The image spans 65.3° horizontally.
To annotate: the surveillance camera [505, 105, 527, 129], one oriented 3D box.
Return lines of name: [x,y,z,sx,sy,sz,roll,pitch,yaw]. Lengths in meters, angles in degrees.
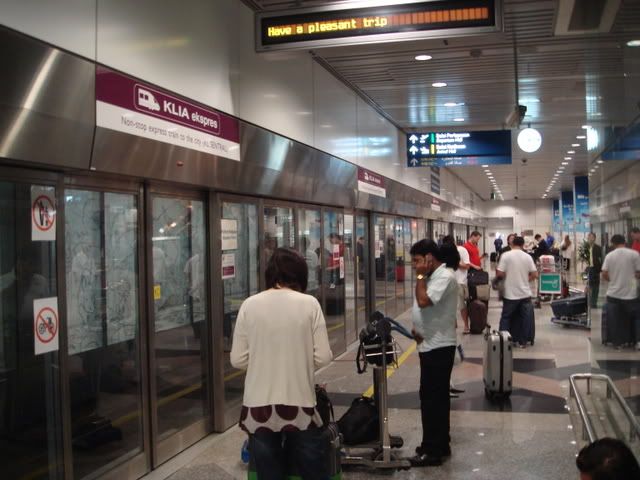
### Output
surveillance camera: [3.635,-2.291,9.276,0.424,0.213,0.792,8,21,3]

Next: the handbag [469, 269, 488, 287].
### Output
handbag: [3.097,0.750,9.756,0.292,0.316,0.316,2,-3,9]

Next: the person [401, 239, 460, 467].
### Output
person: [1.071,1.021,4.652,0.394,2.047,0.525,-1,-1,40]

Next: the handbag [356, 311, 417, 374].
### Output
handbag: [0.522,0.948,4.577,0.584,0.616,0.560,-3,3,-4]

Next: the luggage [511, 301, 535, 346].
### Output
luggage: [3.560,1.381,8.477,0.239,0.659,0.298,-8,-14,3]

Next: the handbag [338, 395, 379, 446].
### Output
handbag: [0.350,1.661,4.792,0.367,0.455,0.445,12,-4,1]

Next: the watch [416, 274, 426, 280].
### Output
watch: [0.925,0.337,4.579,0.049,0.044,0.053,2,0,-11]

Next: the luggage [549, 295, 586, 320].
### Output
luggage: [5.276,1.406,10.497,0.446,0.404,0.627,-4,-5,39]

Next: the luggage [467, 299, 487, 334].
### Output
luggage: [2.974,1.560,9.813,0.446,0.704,0.369,0,-9,-28]

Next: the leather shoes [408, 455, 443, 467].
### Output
leather shoes: [0.955,1.997,4.576,0.303,0.131,0.116,4,-2,1]
